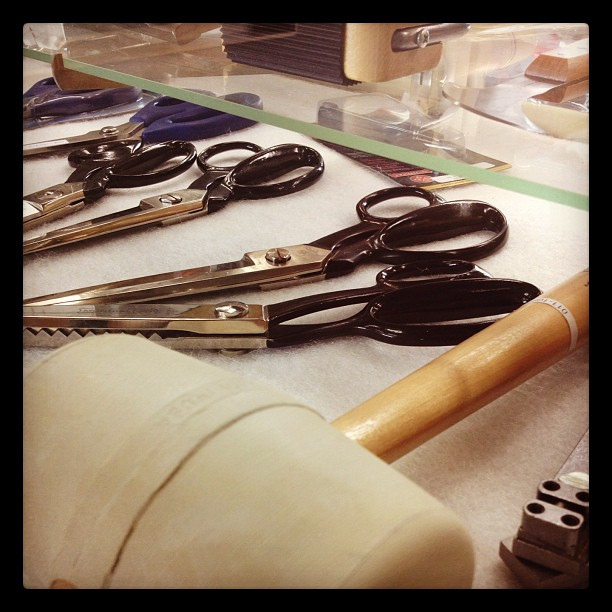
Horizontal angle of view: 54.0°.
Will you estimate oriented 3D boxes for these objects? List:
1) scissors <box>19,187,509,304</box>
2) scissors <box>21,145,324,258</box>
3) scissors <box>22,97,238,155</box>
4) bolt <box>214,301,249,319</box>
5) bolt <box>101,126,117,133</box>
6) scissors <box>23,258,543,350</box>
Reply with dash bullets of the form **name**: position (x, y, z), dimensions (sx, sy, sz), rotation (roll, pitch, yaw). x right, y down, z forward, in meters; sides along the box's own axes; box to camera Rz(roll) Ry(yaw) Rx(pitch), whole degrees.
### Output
- **scissors**: position (-0.004, -0.032, 0.379), dimensions (0.307, 0.025, 0.092), rotation (-7, 27, -13)
- **scissors**: position (-0.104, -0.060, 0.435), dimensions (0.263, 0.075, 0.028), rotation (-9, -16, 13)
- **scissors**: position (-0.127, -0.153, 0.509), dimensions (0.196, 0.012, 0.068), rotation (-12, 28, -23)
- **bolt**: position (-0.045, 0.003, 0.336), dimensions (0.014, 0.002, 0.012), rotation (12, 32, 20)
- **bolt**: position (-0.169, -0.149, 0.509), dimensions (0.010, 0.002, 0.008), rotation (-3, 30, -16)
- **scissors**: position (0.002, 0.014, 0.368), dimensions (0.325, 0.033, 0.083), rotation (1, 26, -2)
